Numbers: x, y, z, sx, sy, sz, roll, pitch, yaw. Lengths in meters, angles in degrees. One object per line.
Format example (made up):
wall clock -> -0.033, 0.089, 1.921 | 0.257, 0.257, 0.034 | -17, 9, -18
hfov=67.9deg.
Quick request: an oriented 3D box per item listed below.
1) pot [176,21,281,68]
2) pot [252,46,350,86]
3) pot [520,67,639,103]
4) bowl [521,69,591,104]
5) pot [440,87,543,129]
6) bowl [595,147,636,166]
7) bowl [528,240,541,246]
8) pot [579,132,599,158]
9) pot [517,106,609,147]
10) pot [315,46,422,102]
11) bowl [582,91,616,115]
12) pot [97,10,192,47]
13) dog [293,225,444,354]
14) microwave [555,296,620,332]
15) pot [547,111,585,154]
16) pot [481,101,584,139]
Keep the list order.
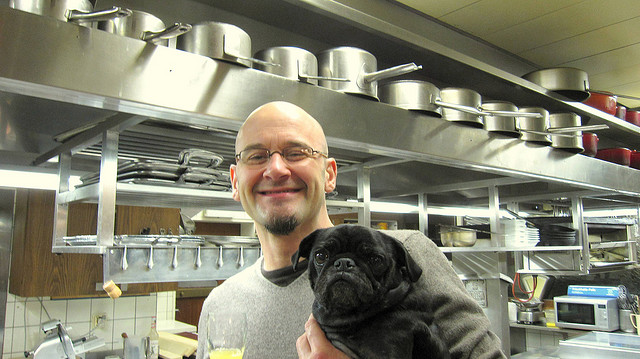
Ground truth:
pot -> -0.549, -0.742, 2.676 | 0.701, 0.236, 0.464 | 8, 20, 32
pot -> -0.041, -0.692, 2.777 | 0.442, 0.231, 0.625 | -2, 21, -2
pot -> 1.854, -0.715, 3.547 | 0.796, 0.098, 0.306 | 7, -8, -19
bowl -> 1.782, -0.711, 3.530 | 0.302, 0.093, 0.295 | 3, -3, 0
pot -> 1.069, -0.473, 3.118 | 0.679, 0.220, 0.256 | 16, 1, 23
bowl -> 2.557, -0.193, 4.145 | 0.274, 0.159, 0.148 | -1, -8, 15
bowl -> 1.882, 0.560, 4.186 | 0.048, 0.051, 0.190 | -6, -10, 43
pot -> 2.125, -0.286, 3.844 | 0.202, 0.166, 0.182 | 2, -3, 36
pot -> 1.705, -0.376, 3.365 | 0.249, 0.194, 0.601 | -2, 2, -36
pot -> 0.257, -0.656, 2.843 | 0.418, 0.318, 0.760 | -4, 10, -40
bowl -> 2.291, -0.627, 3.895 | 0.283, 0.151, 0.095 | 4, -8, -24
pot -> -0.906, -0.799, 2.483 | 0.410, 0.135, 0.220 | 4, -7, -2
dog -> 0.190, 0.473, 1.981 | 0.425, 0.366, 0.614 | -33, -51, 13
microwave -> 2.860, 1.550, 5.408 | 0.659, 0.357, 0.385 | 6, -16, -4
pot -> 1.829, -0.345, 3.628 | 0.342, 0.295, 0.303 | -2, -6, 8
pot -> 1.485, -0.428, 3.413 | 0.666, 0.207, 0.244 | -10, -6, -5
